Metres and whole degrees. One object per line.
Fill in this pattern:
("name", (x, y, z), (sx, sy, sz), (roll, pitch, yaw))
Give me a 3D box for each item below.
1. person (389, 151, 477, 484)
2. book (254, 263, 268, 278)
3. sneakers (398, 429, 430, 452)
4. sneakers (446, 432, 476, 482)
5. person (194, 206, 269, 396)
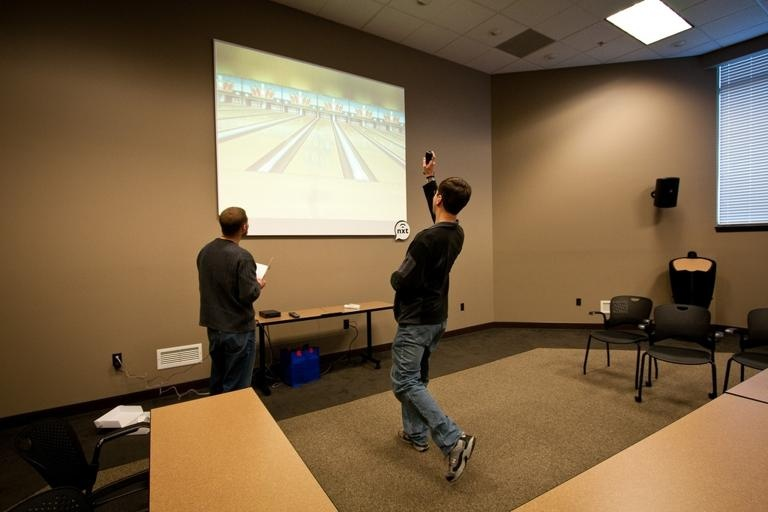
("person", (0.426, 0.508, 4.259), (0.728, 2.861, 0.714), (0, 8, 7))
("book", (-1.315, 0.158, 5.048), (0.053, 0.184, 0.194), (17, -13, -41))
("sneakers", (0.285, 1.780, 4.576), (0.120, 0.114, 0.304), (-2, 11, -38))
("sneakers", (0.650, 1.730, 4.156), (0.235, 0.489, 0.164), (18, 13, 5))
("person", (-1.501, 0.600, 4.568), (0.604, 1.538, 0.266), (-2, 8, -5))
